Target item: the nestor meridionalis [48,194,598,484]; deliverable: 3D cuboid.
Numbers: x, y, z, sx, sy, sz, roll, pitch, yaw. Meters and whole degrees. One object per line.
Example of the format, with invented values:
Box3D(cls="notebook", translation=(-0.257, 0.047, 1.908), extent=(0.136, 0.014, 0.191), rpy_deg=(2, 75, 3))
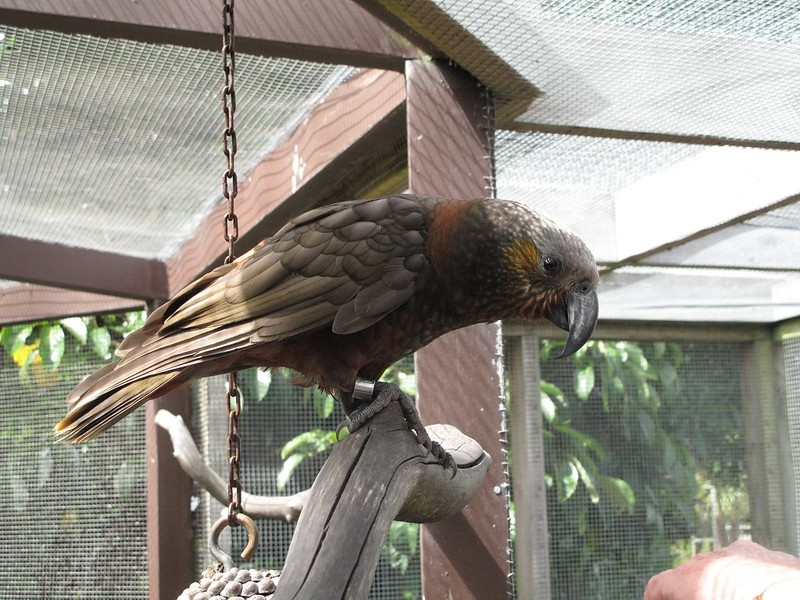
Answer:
Box3D(cls="nestor meridionalis", translation=(-0.214, 0.071, 3.713), extent=(1.431, 0.791, 0.501), rpy_deg=(3, -2, 9))
